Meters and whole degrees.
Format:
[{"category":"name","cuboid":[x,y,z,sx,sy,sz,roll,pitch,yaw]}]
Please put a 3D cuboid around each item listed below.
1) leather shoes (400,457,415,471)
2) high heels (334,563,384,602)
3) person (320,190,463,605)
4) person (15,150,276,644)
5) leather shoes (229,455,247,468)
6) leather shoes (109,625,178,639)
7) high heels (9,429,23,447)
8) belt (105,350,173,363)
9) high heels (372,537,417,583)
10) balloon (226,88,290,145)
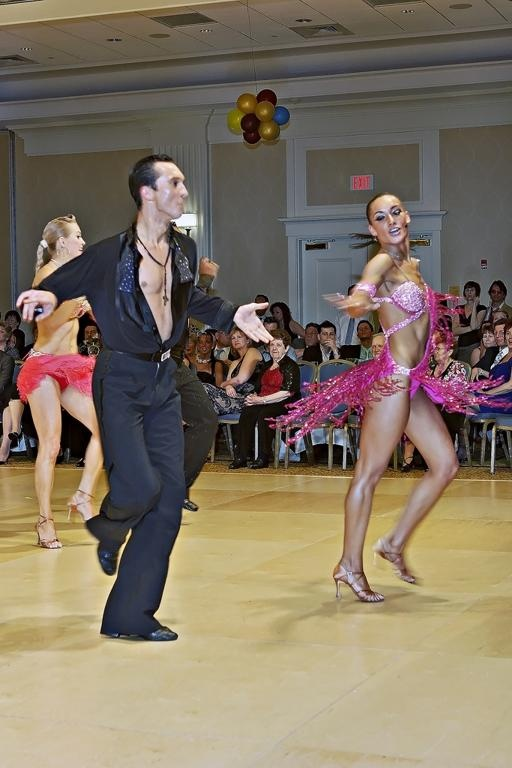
[{"category":"leather shoes","cuboid":[1.480,0.781,6.245,0.061,0.079,0.163,-11,13,31]},{"category":"high heels","cuboid":[0.402,0.780,2.526,0.268,0.154,0.096,1,0,3]},{"category":"person","cuboid":[0.506,0.034,2.526,0.442,1.623,0.953,-3,-6,28]},{"category":"person","cuboid":[-0.456,0.047,2.079,0.481,1.537,0.336,0,-6,3]},{"category":"leather shoes","cuboid":[-0.180,0.838,6.801,0.085,0.086,0.226,-6,-7,29]},{"category":"leather shoes","cuboid":[-0.353,0.799,2.067,0.223,0.051,0.075,-2,-9,6]},{"category":"high heels","cuboid":[-2.716,0.606,7.247,0.171,0.130,0.429,42,-17,-14]},{"category":"belt","cuboid":[-0.373,-0.091,2.024,0.210,0.047,0.091,1,-5,-14]},{"category":"high heels","cuboid":[0.609,0.780,2.838,0.112,0.246,0.077,-41,21,10]},{"category":"balloon","cuboid":[0.014,-3.850,9.283,0.761,0.768,0.550,-1,-6,18]}]
